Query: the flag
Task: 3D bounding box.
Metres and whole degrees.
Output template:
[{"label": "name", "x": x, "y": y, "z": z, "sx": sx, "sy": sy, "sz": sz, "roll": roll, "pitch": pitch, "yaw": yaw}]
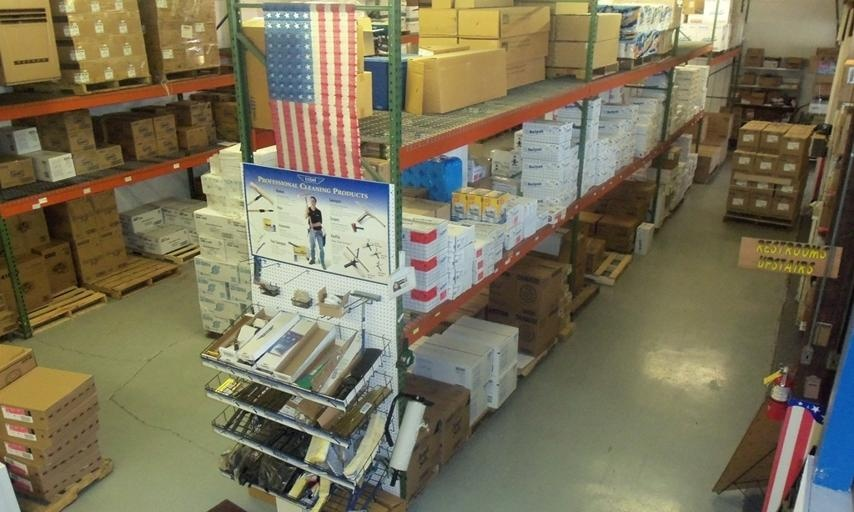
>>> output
[{"label": "flag", "x": -1.008, "y": -1.461, "z": 5.480, "sx": 1.013, "sy": 1.430, "sz": 0.440, "roll": 11, "pitch": 31, "yaw": 24}]
